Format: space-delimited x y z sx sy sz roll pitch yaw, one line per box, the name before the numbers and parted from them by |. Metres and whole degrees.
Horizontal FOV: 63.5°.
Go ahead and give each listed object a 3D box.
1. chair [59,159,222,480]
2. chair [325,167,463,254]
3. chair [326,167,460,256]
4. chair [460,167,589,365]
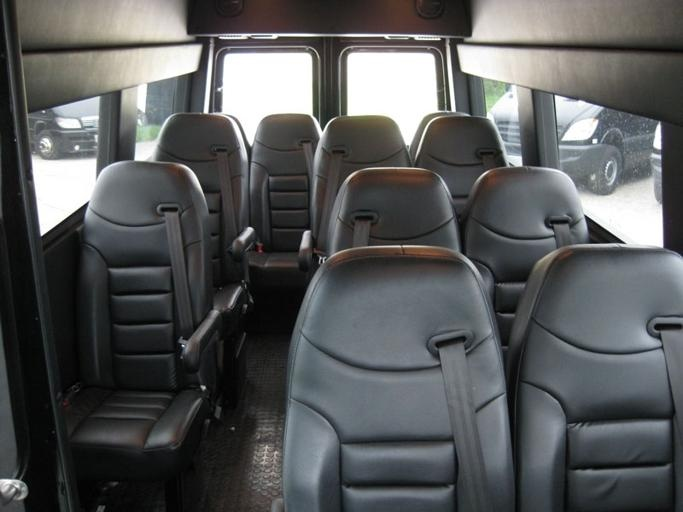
chair | -0.903 0.217 2.309 0.688 1.159 0.919 -2 8 -14
chair | 0.215 -0.094 2.316 0.403 0.458 0.389 0 -2 0
chair | 0.225 -0.185 2.288 0.418 0.475 0.394 0 -2 0
chair | 0.795 0.117 2.274 0.581 0.901 0.721 1 12 25
